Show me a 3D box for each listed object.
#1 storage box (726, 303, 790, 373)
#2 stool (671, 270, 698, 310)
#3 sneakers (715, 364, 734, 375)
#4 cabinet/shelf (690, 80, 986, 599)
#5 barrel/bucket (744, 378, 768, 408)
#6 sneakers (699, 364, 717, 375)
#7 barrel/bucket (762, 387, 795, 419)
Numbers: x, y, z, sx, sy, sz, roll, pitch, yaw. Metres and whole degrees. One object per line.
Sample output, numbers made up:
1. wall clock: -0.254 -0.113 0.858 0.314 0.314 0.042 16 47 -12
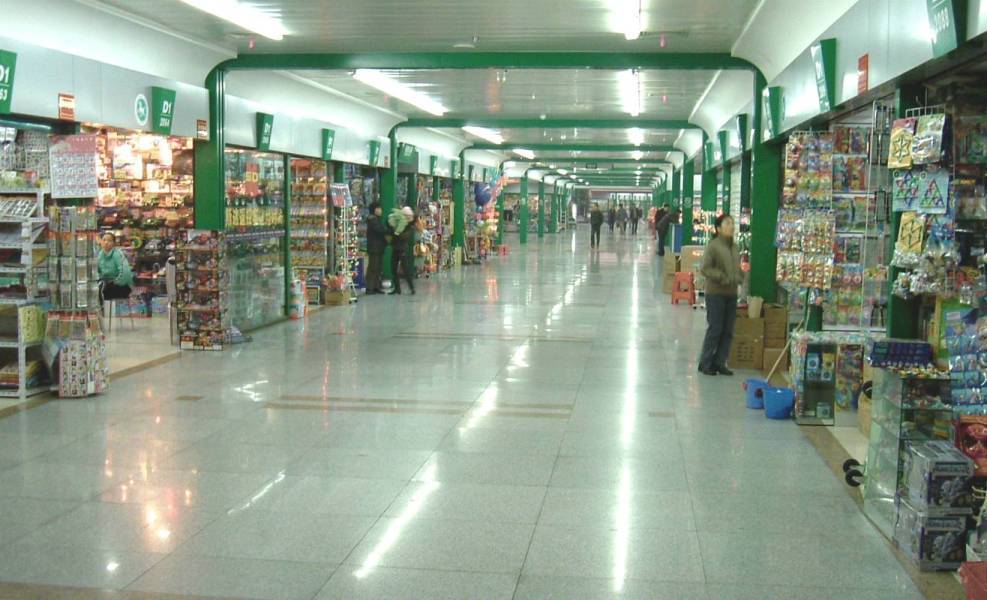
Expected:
1. storage box: 3.409 0.382 11.288 1.084 1.042 0.763 1 1 16
2. stool: 3.771 -0.253 16.855 0.620 0.766 0.581 -1 5 14
3. sneakers: 2.926 0.874 10.781 0.300 0.194 0.099 -1 3 8
4. cabinet/shelf: 3.233 0.400 7.928 1.382 3.535 4.263 1 20 -3
5. barrel/bucket: 2.881 1.022 9.489 0.292 0.334 0.286 0 -8 0
6. sneakers: 2.692 0.879 10.747 0.209 0.084 0.093 1 4 37
7. barrel/bucket: 3.012 1.084 9.022 0.299 0.281 0.325 0 1 0
